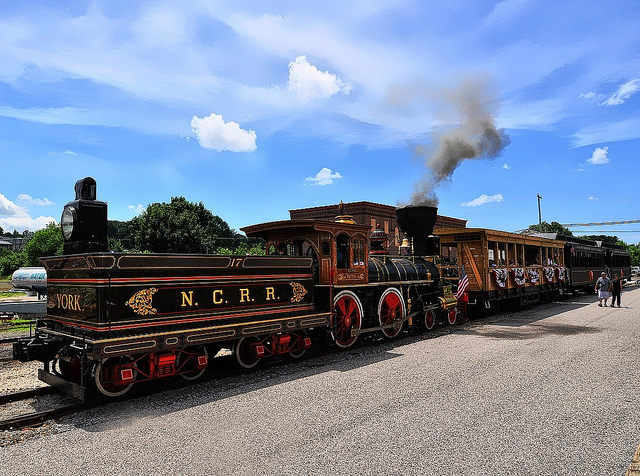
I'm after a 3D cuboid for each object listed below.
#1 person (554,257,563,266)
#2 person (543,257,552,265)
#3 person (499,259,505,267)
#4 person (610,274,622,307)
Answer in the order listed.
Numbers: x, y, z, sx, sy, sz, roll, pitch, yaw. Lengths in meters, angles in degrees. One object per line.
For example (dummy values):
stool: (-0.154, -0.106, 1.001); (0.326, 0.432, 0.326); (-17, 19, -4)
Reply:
person: (14.574, 1.409, 24.787); (0.152, 0.573, 1.254); (1, 2, 42)
person: (13.228, 1.312, 23.485); (0.397, 0.226, 0.763); (-3, 2, 36)
person: (8.459, 1.125, 18.781); (0.200, 0.328, 0.750); (1, 2, 28)
person: (15.369, 2.680, 20.991); (0.358, 1.538, 1.430); (1, 2, 39)
